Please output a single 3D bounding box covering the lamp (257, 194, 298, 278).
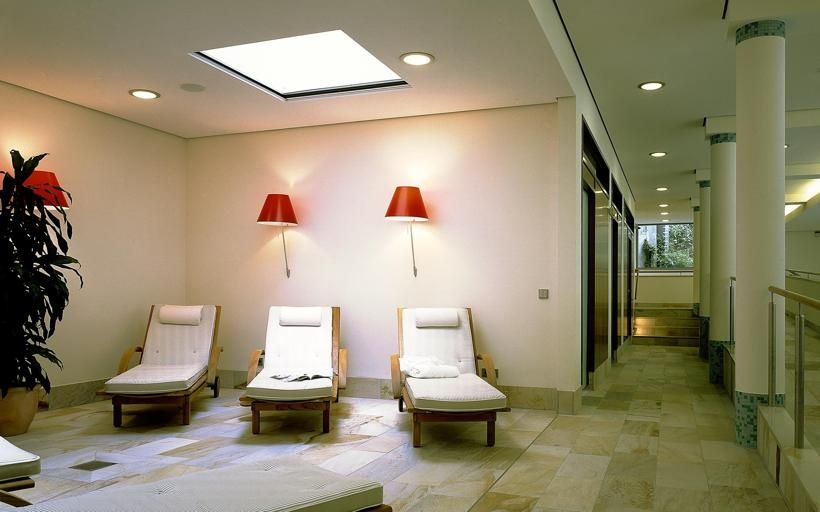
[{"bbox_3d":[-1.917,-0.300,7.410,0.542,1.128,0.525,0,0,-12],"label":"lamp"}]

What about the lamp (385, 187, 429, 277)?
[{"bbox_3d":[-0.033,-0.319,6.861,0.502,1.164,0.477,0,0,12],"label":"lamp"}]

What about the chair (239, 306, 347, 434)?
[{"bbox_3d":[-1.435,1.305,6.356,1.251,1.050,1.893,2,0,-7],"label":"chair"}]

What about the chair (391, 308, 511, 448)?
[{"bbox_3d":[0.379,1.326,6.044,1.256,1.141,2.068,1,-1,-2],"label":"chair"}]

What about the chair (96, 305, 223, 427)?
[{"bbox_3d":[-3.046,1.293,6.431,1.160,0.950,1.654,2,5,-9],"label":"chair"}]
